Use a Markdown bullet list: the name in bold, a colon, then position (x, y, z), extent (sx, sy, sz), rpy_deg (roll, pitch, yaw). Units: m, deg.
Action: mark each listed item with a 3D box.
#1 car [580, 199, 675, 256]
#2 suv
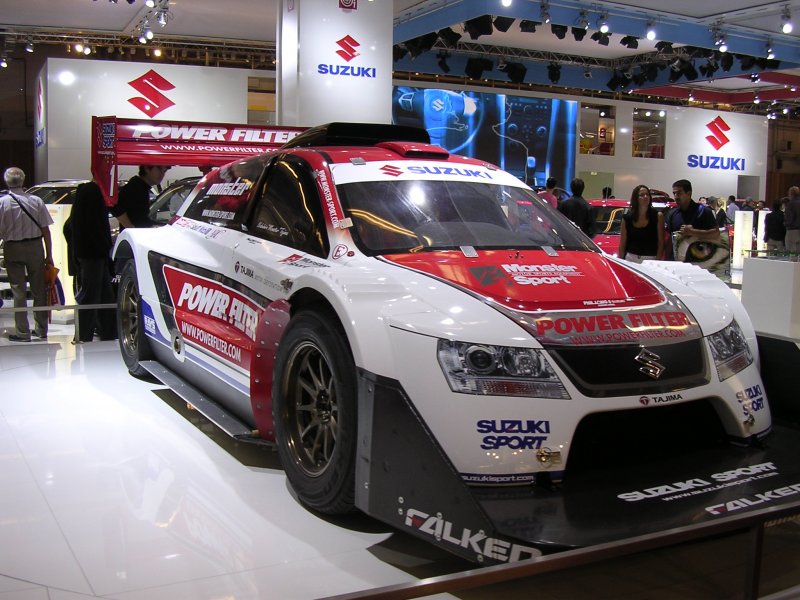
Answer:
- **car**: position (4.074, -1.458, 10.144), extent (1.291, 0.830, 2.043), rpy_deg (1, 2, 21)
- **suv**: position (-5.628, -1.190, 9.026), extent (3.624, 1.553, 2.256), rpy_deg (7, 11, 34)
